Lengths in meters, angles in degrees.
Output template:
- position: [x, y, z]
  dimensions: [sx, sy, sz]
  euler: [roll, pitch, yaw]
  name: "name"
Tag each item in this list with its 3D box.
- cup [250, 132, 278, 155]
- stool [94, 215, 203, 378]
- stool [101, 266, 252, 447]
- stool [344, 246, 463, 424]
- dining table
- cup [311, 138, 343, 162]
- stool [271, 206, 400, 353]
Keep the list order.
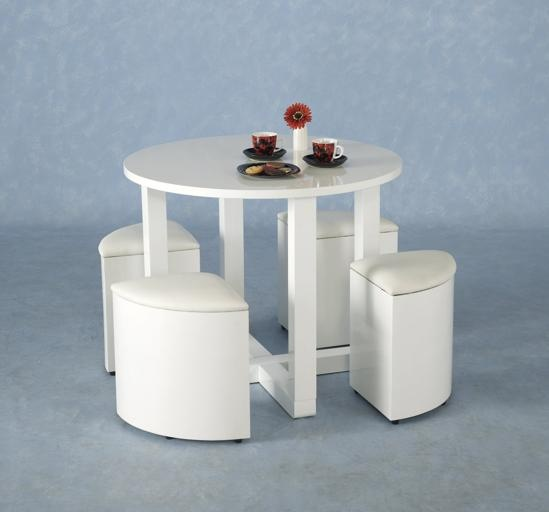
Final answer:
- position: [-0.041, -0.429, 2.785]
  dimensions: [0.090, 0.066, 0.091]
  euler: [0, 15, 0]
  name: "cup"
- position: [-0.587, 0.151, 3.158]
  dimensions: [0.549, 0.729, 0.518]
  euler: [-4, 8, -27]
  name: "stool"
- position: [-0.245, 0.311, 2.591]
  dimensions: [0.521, 0.516, 0.507]
  euler: [10, 15, 40]
  name: "stool"
- position: [0.485, 0.284, 2.640]
  dimensions: [0.355, 0.532, 0.374]
  euler: [-5, 21, -13]
  name: "stool"
- position: [-0.113, 0.014, 2.970]
  dimensions: [1.119, 0.934, 1.091]
  euler: [-5, 19, -13]
  name: "dining table"
- position: [0.199, -0.383, 2.715]
  dimensions: [0.098, 0.078, 0.118]
  euler: [-2, 7, -3]
  name: "cup"
- position: [0.257, 0.081, 3.211]
  dimensions: [0.553, 0.558, 0.535]
  euler: [6, -24, -28]
  name: "stool"
